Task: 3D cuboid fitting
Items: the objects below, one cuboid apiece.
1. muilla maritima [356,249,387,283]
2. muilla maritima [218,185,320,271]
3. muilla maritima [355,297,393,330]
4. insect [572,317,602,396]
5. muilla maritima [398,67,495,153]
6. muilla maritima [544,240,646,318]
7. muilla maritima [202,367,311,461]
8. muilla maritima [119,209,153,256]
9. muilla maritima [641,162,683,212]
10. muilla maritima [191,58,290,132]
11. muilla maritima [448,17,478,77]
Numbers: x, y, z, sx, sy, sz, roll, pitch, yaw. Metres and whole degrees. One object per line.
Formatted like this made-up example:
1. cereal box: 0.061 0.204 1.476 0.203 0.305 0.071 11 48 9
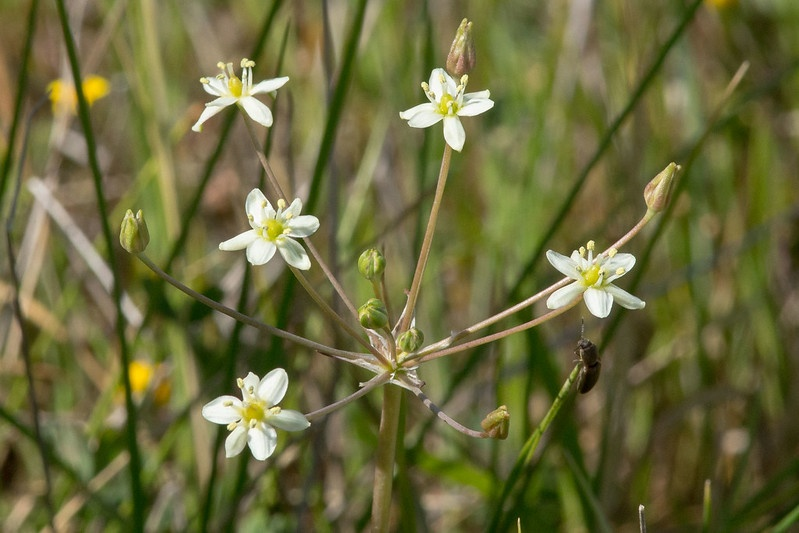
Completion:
1. muilla maritima: -0.123 -0.011 3.351 0.108 0.124 0.084 0 -7 -43
2. muilla maritima: -0.499 -0.189 3.440 0.342 0.190 0.420 8 -13 -10
3. muilla maritima: -0.087 0.184 3.274 0.122 0.105 0.119 14 39 -12
4. insect: 0.695 0.348 3.308 0.131 0.283 0.061 -16 15 -28
5. muilla maritima: 0.200 -0.574 3.457 0.319 0.345 0.343 12 35 29
6. muilla maritima: 0.803 0.007 3.383 0.095 0.295 0.237 -43 55 5
7. muilla maritima: -0.572 0.533 3.261 0.294 0.409 0.113 -27 55 -39
8. muilla maritima: -1.013 -0.133 3.337 0.068 0.158 0.080 -5 18 -26
9. muilla maritima: 0.994 -0.298 3.390 0.110 0.168 0.187 18 39 36
10. muilla maritima: -0.637 -0.705 3.514 0.389 0.248 0.348 10 20 38
11. muilla maritima: 0.244 -0.820 3.477 0.085 0.291 0.099 6 -16 2
